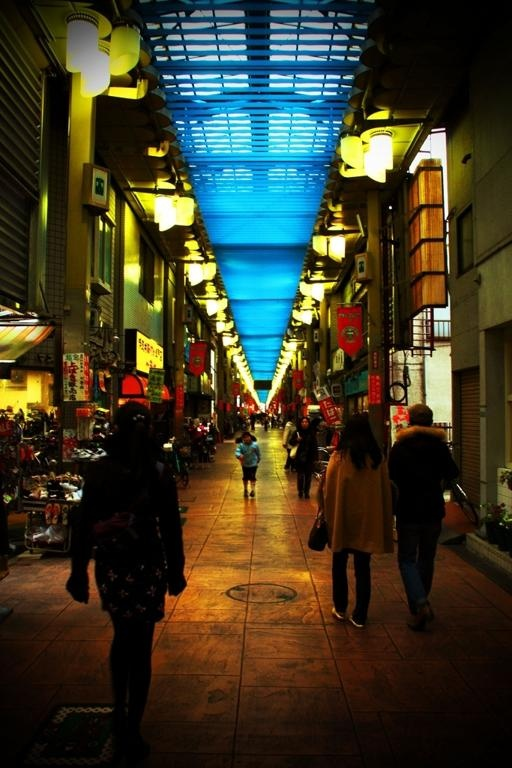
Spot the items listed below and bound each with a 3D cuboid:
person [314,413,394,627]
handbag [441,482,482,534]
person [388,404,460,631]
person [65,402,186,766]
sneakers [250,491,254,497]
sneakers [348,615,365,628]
[{"bbox_3d":[0.753,1.032,4.418,0.573,1.596,0.403,-2,-4,12],"label":"person"},{"bbox_3d":[1.675,0.999,4.858,0.395,0.362,0.134,22,-54,-21],"label":"handbag"},{"bbox_3d":[1.284,0.986,4.406,0.458,1.675,0.435,1,-4,-32],"label":"person"},{"bbox_3d":[-0.562,0.838,2.532,0.504,1.523,0.298,0,-4,-19],"label":"person"},{"bbox_3d":[-0.074,2.449,12.902,0.077,0.153,0.105,-3,10,-23],"label":"sneakers"},{"bbox_3d":[0.764,1.787,4.372,0.115,0.091,0.261,-1,-3,5],"label":"sneakers"}]
